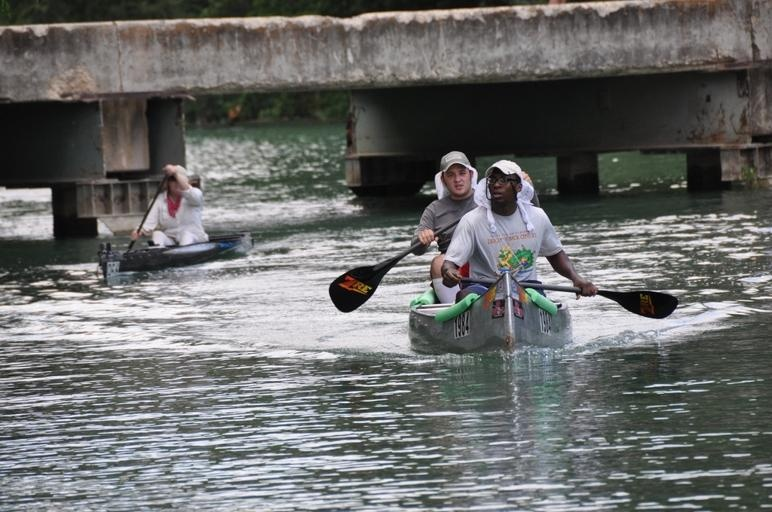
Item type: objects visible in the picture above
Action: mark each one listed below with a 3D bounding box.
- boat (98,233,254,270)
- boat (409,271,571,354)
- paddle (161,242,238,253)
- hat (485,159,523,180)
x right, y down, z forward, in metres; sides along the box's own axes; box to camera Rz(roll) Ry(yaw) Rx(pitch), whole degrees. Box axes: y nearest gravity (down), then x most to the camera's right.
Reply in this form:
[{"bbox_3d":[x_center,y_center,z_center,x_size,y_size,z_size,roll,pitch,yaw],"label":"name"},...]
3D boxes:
[{"bbox_3d":[-3.692,0.007,28.017,3.141,0.460,0.884,-4,-4,-42],"label":"boat"},{"bbox_3d":[1.527,1.037,22.081,2.268,0.821,2.597,0,-13,-8],"label":"boat"},{"bbox_3d":[-3.281,-0.136,28.257,0.296,0.140,1.453,-38,-16,29],"label":"paddle"},{"bbox_3d":[1.585,-1.148,21.291,0.499,0.258,0.611,-3,1,4],"label":"hat"}]
